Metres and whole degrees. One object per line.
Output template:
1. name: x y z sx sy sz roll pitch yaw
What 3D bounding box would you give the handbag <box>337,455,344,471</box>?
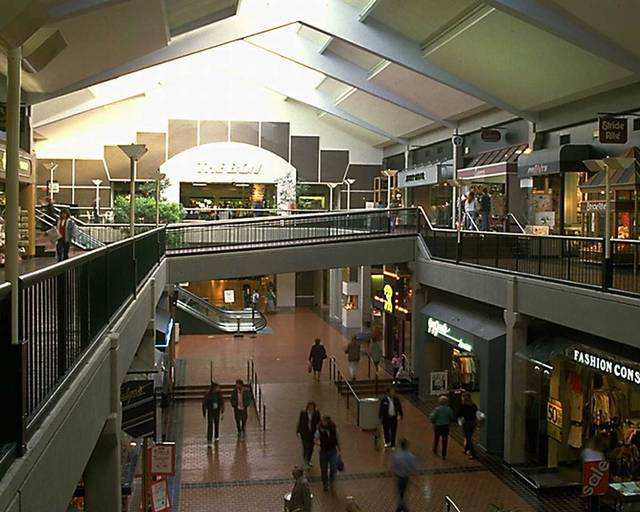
1. handbag: 0.489 4.732 11.414 0.124 0.361 0.380 1 3 6

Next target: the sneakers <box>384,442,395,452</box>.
1. sneakers: 1.994 5.277 13.768 0.233 0.129 0.356 8 -2 -20

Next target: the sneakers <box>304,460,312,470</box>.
1. sneakers: -0.288 5.283 12.568 0.165 0.301 0.178 1 -2 -10

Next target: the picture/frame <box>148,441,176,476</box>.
1. picture/frame: -2.746 3.552 8.517 0.562 0.584 0.138 1 0 11

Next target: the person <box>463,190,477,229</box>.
1. person: 5.588 -1.529 17.976 0.462 1.361 1.533 1 3 16

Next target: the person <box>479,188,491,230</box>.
1. person: 5.800 -1.402 17.048 0.274 1.240 0.860 1 2 14

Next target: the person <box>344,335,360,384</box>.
1. person: 1.368 4.061 19.916 0.660 1.713 0.503 -1 9 4

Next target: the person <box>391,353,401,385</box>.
1. person: 3.151 4.411 19.900 0.339 1.093 1.800 1 3 9
